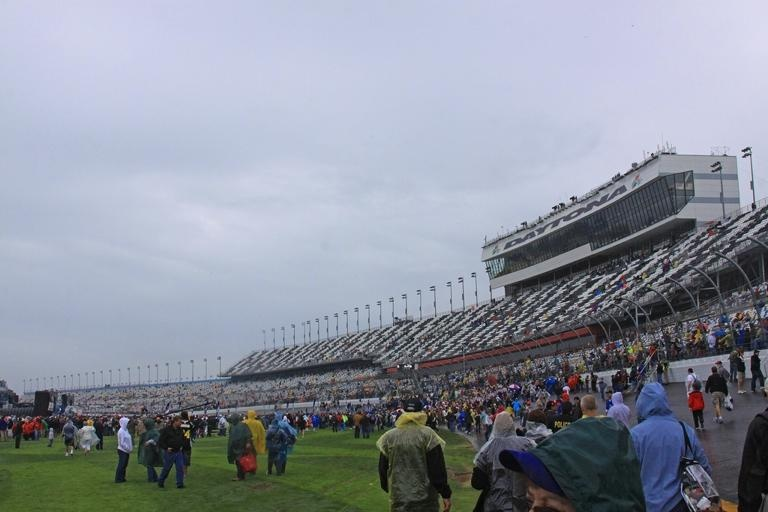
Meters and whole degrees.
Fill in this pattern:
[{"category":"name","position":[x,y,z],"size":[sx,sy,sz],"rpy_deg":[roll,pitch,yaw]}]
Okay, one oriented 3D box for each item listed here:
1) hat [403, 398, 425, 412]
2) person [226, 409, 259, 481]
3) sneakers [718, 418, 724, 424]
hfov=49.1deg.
[{"category":"hat","position":[0.874,4.366,24.722],"size":[0.585,0.390,0.914],"rpy_deg":[-1,-6,9]},{"category":"person","position":[-5.723,7.667,33.868],"size":[1.080,2.533,1.357],"rpy_deg":[1,-16,-9]},{"category":"sneakers","position":[14.340,6.961,35.686],"size":[0.158,0.163,0.364],"rpy_deg":[8,9,12]}]
